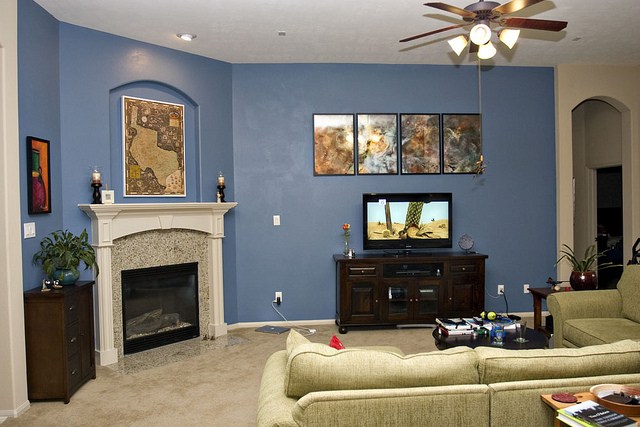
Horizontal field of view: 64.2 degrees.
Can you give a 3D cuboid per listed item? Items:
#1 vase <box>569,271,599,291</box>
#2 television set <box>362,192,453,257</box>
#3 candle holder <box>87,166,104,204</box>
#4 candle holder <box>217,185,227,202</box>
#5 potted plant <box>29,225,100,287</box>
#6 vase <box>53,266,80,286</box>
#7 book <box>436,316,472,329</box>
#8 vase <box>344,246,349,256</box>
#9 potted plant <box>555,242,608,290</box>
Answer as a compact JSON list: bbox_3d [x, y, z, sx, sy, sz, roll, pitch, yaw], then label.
[{"bbox_3d":[3.268,0.829,6.307,0.262,0.187,0.263,-7,-9,39],"label":"vase"},{"bbox_3d":[1.238,0.129,7.321,0.990,0.619,0.249,0,-3,-3],"label":"television set"},{"bbox_3d":[-2.701,-0.350,6.139,0.168,0.464,0.213,-1,1,-23],"label":"candle holder"},{"bbox_3d":[-1.363,-0.281,7.076,0.107,0.234,0.187,-1,1,-10],"label":"candle holder"},{"bbox_3d":[-2.810,0.463,5.666,0.656,0.530,0.618,-4,-6,40],"label":"potted plant"},{"bbox_3d":[-2.760,0.675,5.547,0.232,0.149,0.232,1,-6,-4],"label":"vase"},{"bbox_3d":[1.525,1.226,5.694,0.331,0.077,0.308,1,-1,-10],"label":"book"},{"bbox_3d":[0.386,0.528,7.339,0.064,0.115,0.182,0,1,2],"label":"vase"},{"bbox_3d":[3.279,0.665,6.438,0.555,0.580,0.665,-4,-1,38],"label":"potted plant"}]
